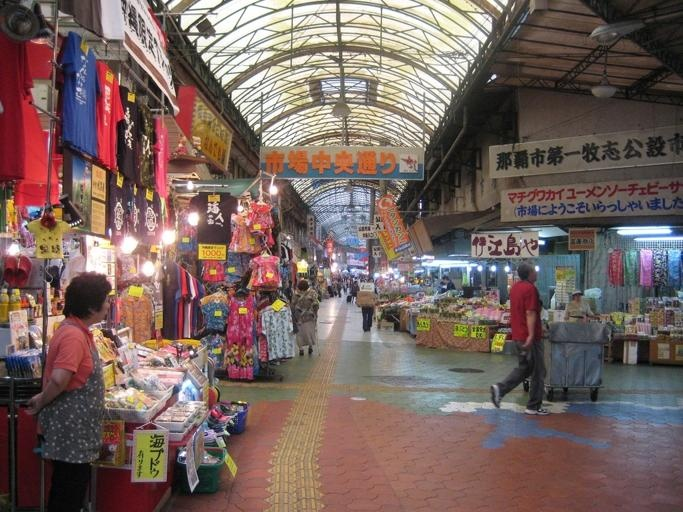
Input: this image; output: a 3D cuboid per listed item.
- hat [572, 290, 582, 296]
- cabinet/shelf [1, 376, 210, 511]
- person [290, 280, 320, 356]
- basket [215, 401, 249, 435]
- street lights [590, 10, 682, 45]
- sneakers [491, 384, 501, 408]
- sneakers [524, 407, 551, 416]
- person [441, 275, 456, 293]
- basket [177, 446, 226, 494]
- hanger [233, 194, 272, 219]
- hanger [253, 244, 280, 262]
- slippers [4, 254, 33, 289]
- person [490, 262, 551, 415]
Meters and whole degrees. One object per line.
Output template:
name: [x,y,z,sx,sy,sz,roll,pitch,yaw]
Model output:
hat: [5.014,0.778,12.479,0.140,0.060,0.193,0,-7,-4]
cabinet/shelf: [-2.119,1.229,5.090,0.918,1.261,1.744,-4,-7,28]
person: [-0.795,1.290,12.292,0.529,1.692,1.302,0,1,-3]
basket: [-1.322,1.912,7.060,0.303,0.313,0.368,1,3,8]
street lights: [4.365,-3.626,9.282,0.720,0.348,0.337,0,1,12]
sneakers: [2.032,1.842,7.722,0.147,0.342,0.110,-6,6,4]
sneakers: [2.626,2.059,7.854,0.304,0.146,0.123,-3,3,-9]
person: [4.420,1.132,24.352,0.446,0.592,1.323,0,1,6]
basket: [-1.385,2.092,5.634,0.346,0.261,0.517,0,0,-1]
hanger: [-1.470,-0.797,9.382,0.421,0.271,0.601,0,-1,-4]
hanger: [-1.245,-0.060,9.420,0.269,0.319,0.018,-1,19,-11]
slippers: [-2.910,0.146,5.229,0.221,0.314,0.168,0,28,-11]
person: [2.403,1.091,7.808,0.660,2.029,0.628,0,1,20]
